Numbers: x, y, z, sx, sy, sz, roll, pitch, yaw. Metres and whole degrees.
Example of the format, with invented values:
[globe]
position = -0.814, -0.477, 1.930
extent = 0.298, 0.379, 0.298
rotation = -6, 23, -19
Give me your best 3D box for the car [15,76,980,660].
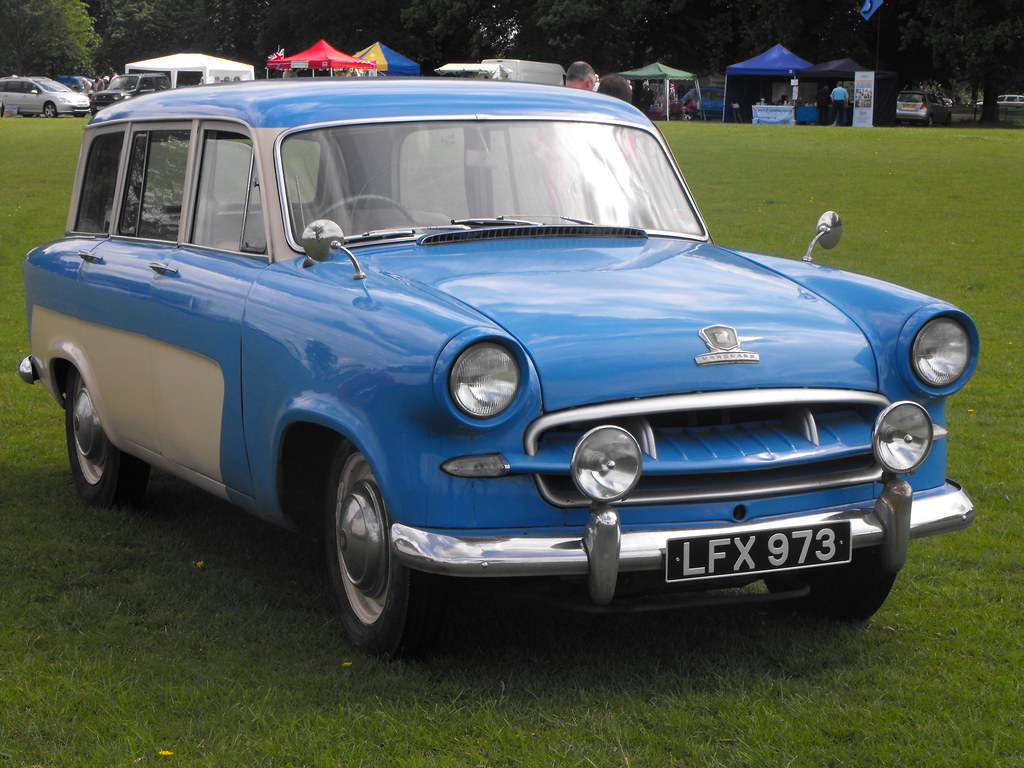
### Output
[car]
position = -0.296, -0.251, 4.195
extent = 4.260, 2.403, 2.085
rotation = 8, 14, 37
